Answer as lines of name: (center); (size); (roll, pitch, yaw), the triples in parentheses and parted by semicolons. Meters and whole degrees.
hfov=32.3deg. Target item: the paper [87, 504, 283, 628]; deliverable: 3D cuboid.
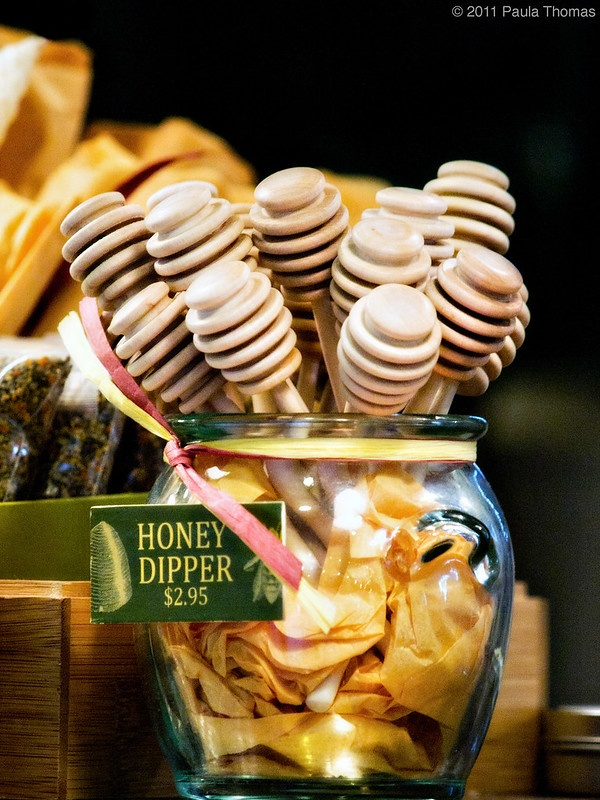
paper: (-0.064, 0.093, 0.594); (0.136, 0.012, 0.065); (-8, 81, 31)
